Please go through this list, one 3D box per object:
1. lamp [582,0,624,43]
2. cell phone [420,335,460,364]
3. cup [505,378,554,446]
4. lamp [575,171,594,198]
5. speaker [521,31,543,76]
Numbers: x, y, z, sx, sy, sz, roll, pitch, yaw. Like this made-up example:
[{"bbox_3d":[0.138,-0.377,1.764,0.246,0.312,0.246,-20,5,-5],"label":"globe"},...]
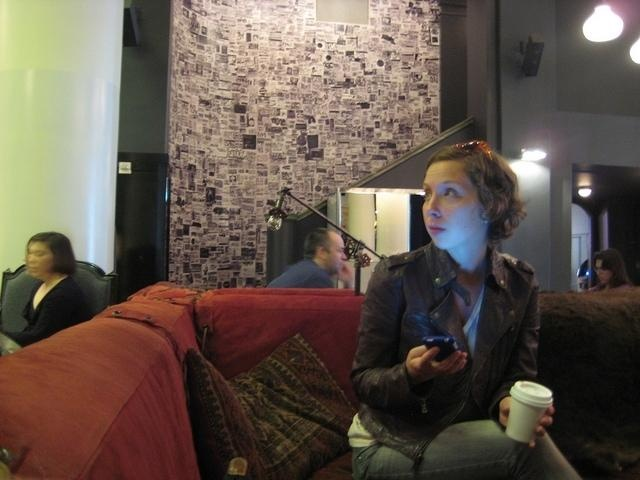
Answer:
[{"bbox_3d":[2.853,-2.178,5.697,0.395,0.220,0.413,3,18,18],"label":"lamp"},{"bbox_3d":[0.366,0.341,1.752,0.085,0.064,0.077,-5,4,-30],"label":"cell phone"},{"bbox_3d":[0.655,0.534,1.768,0.131,0.146,0.129,8,10,-2],"label":"cup"},{"bbox_3d":[2.908,-0.615,6.193,0.201,0.299,0.068,-5,4,-21],"label":"lamp"},{"bbox_3d":[2.031,-1.789,5.419,0.125,0.155,0.451,-4,-35,8],"label":"speaker"}]
